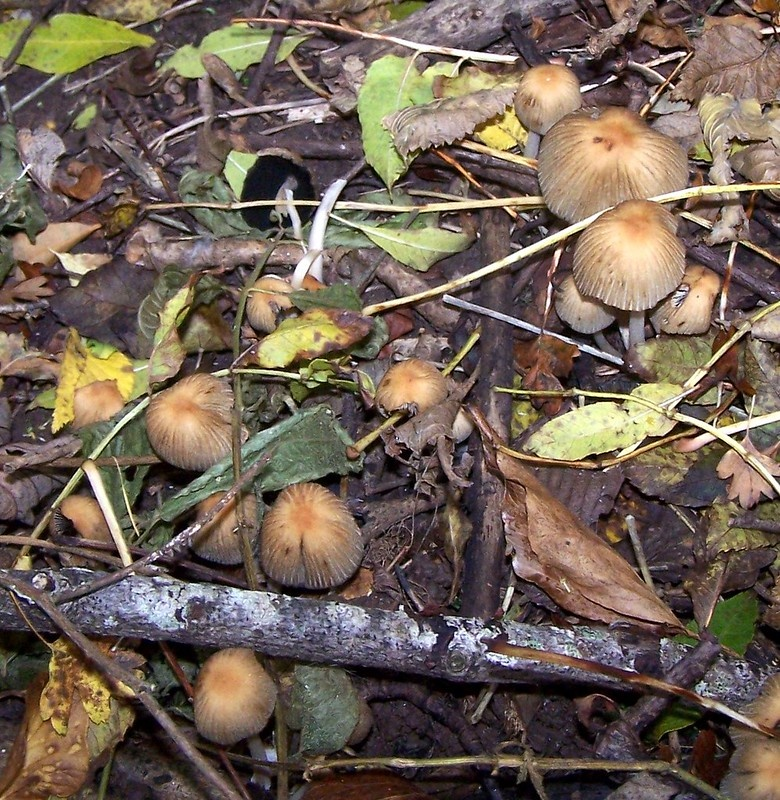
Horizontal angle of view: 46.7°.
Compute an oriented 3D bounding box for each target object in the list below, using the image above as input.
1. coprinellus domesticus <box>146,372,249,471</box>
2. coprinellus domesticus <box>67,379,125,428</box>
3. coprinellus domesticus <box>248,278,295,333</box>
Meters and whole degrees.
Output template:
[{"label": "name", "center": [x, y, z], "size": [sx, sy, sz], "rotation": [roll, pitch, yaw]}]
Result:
[{"label": "coprinellus domesticus", "center": [-0.769, 0.083, 3.544], "size": [0.354, 0.233, 0.369], "rotation": [-13, 54, -10]}, {"label": "coprinellus domesticus", "center": [-1.203, 0.017, 3.700], "size": [0.222, 0.085, 0.153], "rotation": [-19, 55, -15]}, {"label": "coprinellus domesticus", "center": [-0.491, -0.386, 3.726], "size": [0.222, 0.076, 0.211], "rotation": [5, 94, 10]}]
